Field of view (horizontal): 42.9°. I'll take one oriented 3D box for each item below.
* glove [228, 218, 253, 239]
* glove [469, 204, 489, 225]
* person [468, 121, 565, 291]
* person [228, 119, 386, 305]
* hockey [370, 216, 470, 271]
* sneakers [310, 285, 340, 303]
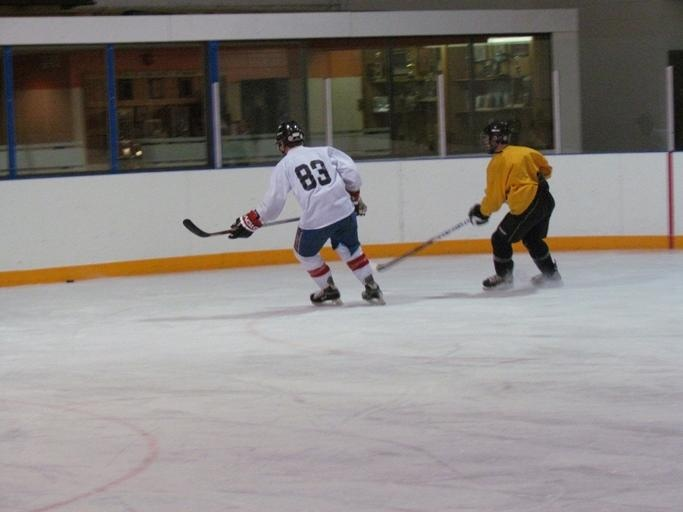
[{"bbox_3d":[-0.628,-0.167,5.532,0.136,0.134,0.055,-37,-1,28],"label":"glove"},{"bbox_3d":[0.938,-0.276,6.013,0.123,0.125,0.144,4,21,-6],"label":"glove"},{"bbox_3d":[1.189,-0.341,5.937,0.518,1.123,0.421,-10,15,-31],"label":"person"},{"bbox_3d":[-0.192,-0.240,5.499,0.886,1.180,0.401,-2,12,1],"label":"person"},{"bbox_3d":[0.644,-0.110,7.463,0.992,0.077,0.114,-23,-21,19],"label":"hockey"},{"bbox_3d":[-0.091,0.245,5.701,0.194,0.107,0.096,1,18,12],"label":"sneakers"}]
